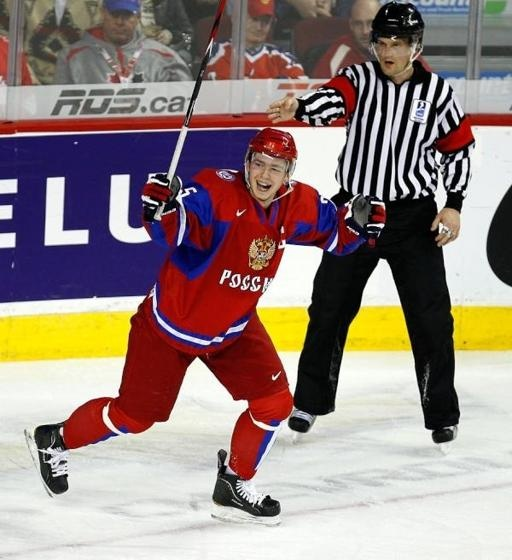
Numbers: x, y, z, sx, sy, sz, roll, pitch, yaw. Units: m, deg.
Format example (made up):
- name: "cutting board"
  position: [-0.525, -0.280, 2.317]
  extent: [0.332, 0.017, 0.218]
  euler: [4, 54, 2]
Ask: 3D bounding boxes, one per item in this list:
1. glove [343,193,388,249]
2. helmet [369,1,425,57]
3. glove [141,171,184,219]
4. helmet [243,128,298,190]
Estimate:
- name: "glove"
  position: [0.330, -0.181, 2.279]
  extent: [0.082, 0.151, 0.120]
  euler: [-10, 28, -10]
- name: "helmet"
  position: [0.496, -0.884, 2.599]
  extent: [0.183, 0.204, 0.162]
  euler: [-1, 10, -13]
- name: "glove"
  position: [-0.239, -0.213, 1.919]
  extent: [0.080, 0.122, 0.129]
  euler: [7, 11, 33]
- name: "helmet"
  position: [0.046, -0.357, 2.177]
  extent: [0.158, 0.176, 0.122]
  euler: [-2, 10, -19]
